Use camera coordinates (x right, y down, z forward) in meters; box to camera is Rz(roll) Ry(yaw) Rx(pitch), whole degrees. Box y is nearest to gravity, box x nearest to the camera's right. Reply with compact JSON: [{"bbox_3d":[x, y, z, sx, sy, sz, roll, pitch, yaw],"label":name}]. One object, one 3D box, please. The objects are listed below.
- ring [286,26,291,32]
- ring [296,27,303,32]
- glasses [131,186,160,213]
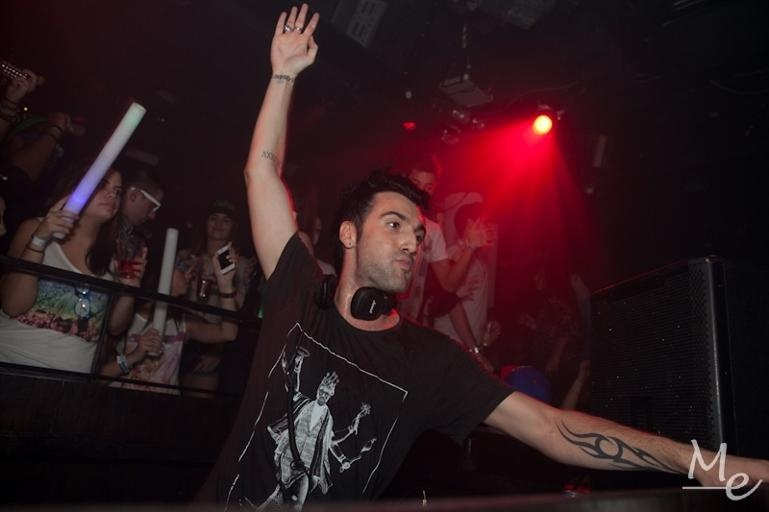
[{"bbox_3d":[-0.587,-1.380,2.936,0.030,0.029,0.009,14,5,-2],"label":"ring"},{"bbox_3d":[-0.520,-1.380,2.934,0.028,0.017,0.036,4,17,-11],"label":"ring"},{"bbox_3d":[-1.996,-0.457,4.095,0.169,0.050,0.177,35,-27,2],"label":"glasses"}]
